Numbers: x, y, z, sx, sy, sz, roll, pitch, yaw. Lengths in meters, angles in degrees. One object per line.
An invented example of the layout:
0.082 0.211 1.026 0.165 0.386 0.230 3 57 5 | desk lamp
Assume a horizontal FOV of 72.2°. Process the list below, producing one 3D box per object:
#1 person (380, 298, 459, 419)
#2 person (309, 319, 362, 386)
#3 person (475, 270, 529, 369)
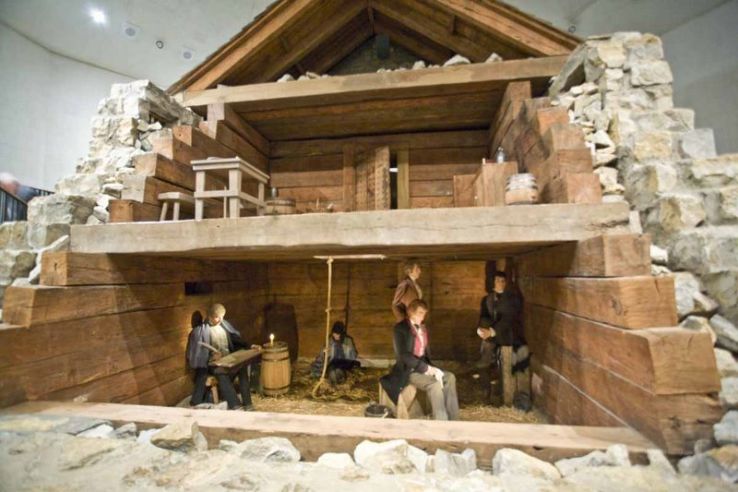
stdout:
0.684 1.523 6.927 0.516 1.554 1.053 2 -3 -41 | person
-0.553 1.843 8.874 0.547 1.016 1.082 -2 -3 41 | person
2.066 1.198 7.978 0.695 1.578 1.064 0 -2 10 | person
